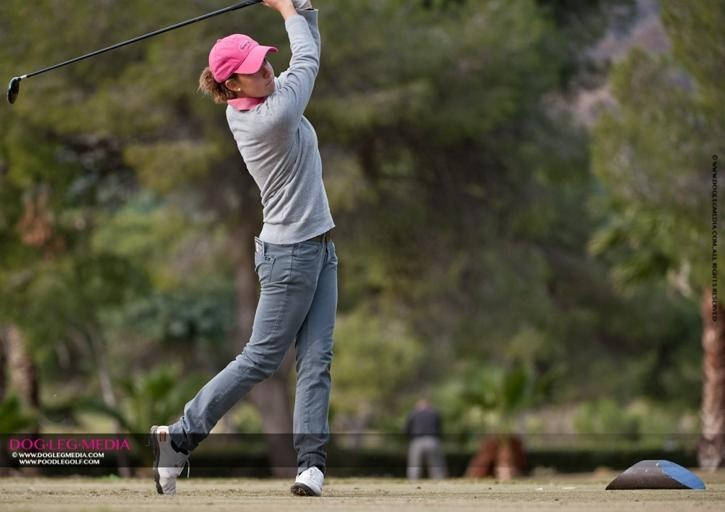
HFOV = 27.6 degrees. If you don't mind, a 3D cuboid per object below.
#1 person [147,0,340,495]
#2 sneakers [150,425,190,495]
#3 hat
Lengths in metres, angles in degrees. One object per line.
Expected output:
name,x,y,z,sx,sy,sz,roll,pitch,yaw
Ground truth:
person,-0.638,-0.067,8.791,0.951,2.952,0.467,1,-4,-2
sneakers,-1.179,1.220,8.910,0.234,0.467,0.162,-4,11,-2
hat,-0.726,-1.161,8.721,0.351,0.182,0.262,-13,28,15
